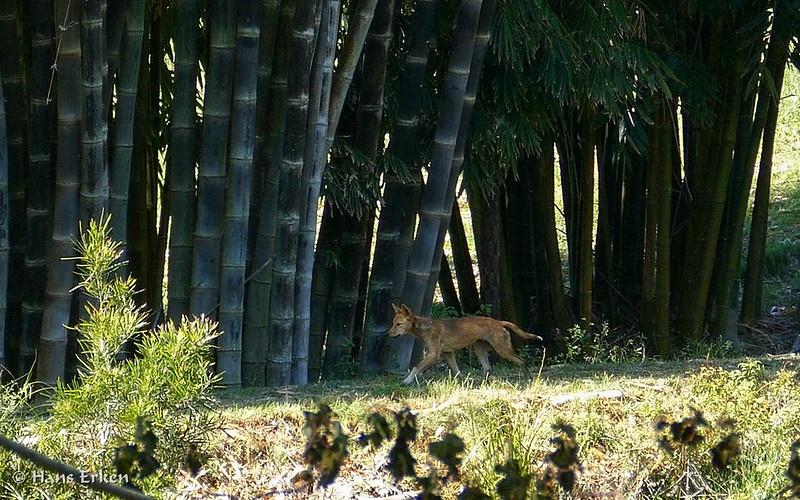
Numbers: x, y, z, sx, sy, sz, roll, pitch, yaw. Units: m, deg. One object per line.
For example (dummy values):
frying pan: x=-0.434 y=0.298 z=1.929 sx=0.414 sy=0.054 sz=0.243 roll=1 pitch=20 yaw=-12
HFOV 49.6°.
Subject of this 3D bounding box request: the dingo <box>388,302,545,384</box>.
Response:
dingo: x=0.515 y=0.799 z=7.747 sx=1.235 sy=0.623 sz=0.725 roll=1 pitch=0 yaw=-2
